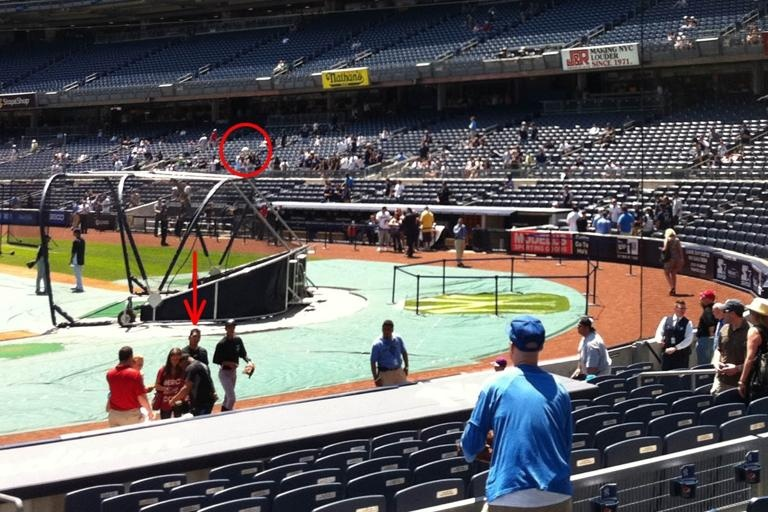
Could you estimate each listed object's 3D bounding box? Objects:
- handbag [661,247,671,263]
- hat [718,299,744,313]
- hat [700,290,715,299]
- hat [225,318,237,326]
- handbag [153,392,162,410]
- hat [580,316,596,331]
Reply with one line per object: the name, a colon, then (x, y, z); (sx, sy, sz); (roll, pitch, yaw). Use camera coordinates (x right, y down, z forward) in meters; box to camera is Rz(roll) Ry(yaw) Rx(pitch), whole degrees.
handbag: (9.885, 0.015, 41.465); (0.302, 0.399, 0.397); (1, 17, 8)
hat: (9.138, 1.321, 30.840); (0.493, 0.228, 0.339); (5, 6, 20)
hat: (9.302, 1.167, 34.066); (0.324, 0.221, 0.419); (-3, 14, -28)
hat: (-4.827, 2.063, 36.672); (0.466, 0.219, 0.687); (1, -8, -16)
handbag: (-6.210, 3.970, 32.141); (0.244, 0.459, 0.478); (5, -5, -11)
hat: (5.632, 1.899, 32.911); (0.396, 0.422, 0.424); (-2, 5, 3)
